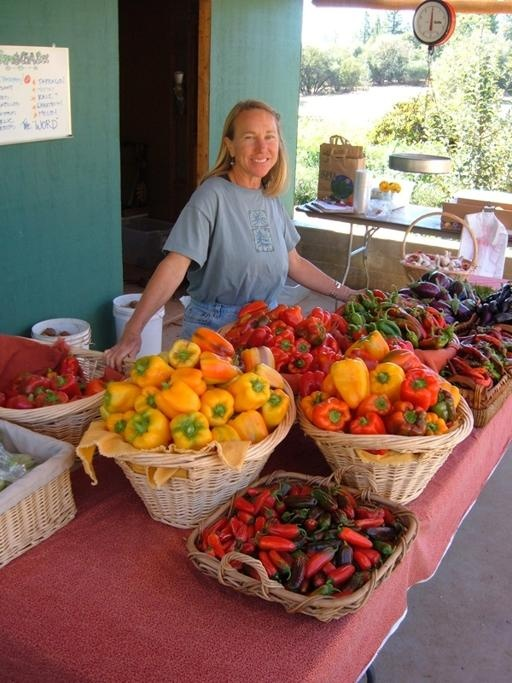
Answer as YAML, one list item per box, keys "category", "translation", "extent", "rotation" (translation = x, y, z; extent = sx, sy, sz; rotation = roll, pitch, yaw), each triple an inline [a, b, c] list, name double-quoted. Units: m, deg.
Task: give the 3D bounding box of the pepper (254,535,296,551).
- category: "pepper"
  translation: [0.034, 0.396, 1.021]
  extent: [0.067, 0.025, 0.028]
  rotation: [0, 55, 13]

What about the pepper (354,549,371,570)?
- category: "pepper"
  translation: [0.207, 0.425, 1.009]
  extent: [0.018, 0.016, 0.039]
  rotation: [-10, 26, -18]

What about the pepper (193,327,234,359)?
- category: "pepper"
  translation: [-0.130, 0.001, 1.544]
  extent: [0.133, 0.062, 0.069]
  rotation: [30, 53, 16]

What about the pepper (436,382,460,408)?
- category: "pepper"
  translation: [0.544, 0.138, 1.435]
  extent: [0.034, 0.079, 0.062]
  rotation: [-38, 33, 14]

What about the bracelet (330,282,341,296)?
- category: "bracelet"
  translation: [0.404, -0.261, 2.560]
  extent: [0.024, 0.066, 0.052]
  rotation: [24, -17, -20]

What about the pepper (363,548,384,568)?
- category: "pepper"
  translation: [0.235, 0.426, 1.024]
  extent: [0.018, 0.014, 0.038]
  rotation: [-20, 28, -31]

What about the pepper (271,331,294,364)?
- category: "pepper"
  translation: [0.089, 0.017, 1.644]
  extent: [0.060, 0.044, 0.102]
  rotation: [4, 56, 11]

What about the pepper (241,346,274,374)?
- category: "pepper"
  translation: [0.008, 0.049, 1.479]
  extent: [0.074, 0.079, 0.072]
  rotation: [-11, 9, -36]

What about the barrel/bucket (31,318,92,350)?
- category: "barrel/bucket"
  translation: [-1.283, -0.057, 3.381]
  extent: [0.223, 0.189, 0.222]
  rotation: [3, 11, -1]

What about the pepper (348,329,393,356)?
- category: "pepper"
  translation: [0.360, 0.008, 1.591]
  extent: [0.090, 0.109, 0.088]
  rotation: [-38, 3, 22]

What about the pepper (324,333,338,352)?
- category: "pepper"
  translation: [0.257, 0.005, 1.745]
  extent: [0.039, 0.068, 0.023]
  rotation: [-20, -12, -22]

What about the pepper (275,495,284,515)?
- category: "pepper"
  translation: [0.051, 0.367, 1.159]
  extent: [0.018, 0.041, 0.018]
  rotation: [25, 50, 31]

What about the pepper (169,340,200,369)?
- category: "pepper"
  translation: [-0.177, 0.044, 1.325]
  extent: [0.075, 0.072, 0.078]
  rotation: [25, -8, -4]

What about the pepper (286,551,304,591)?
- category: "pepper"
  translation: [0.071, 0.427, 0.961]
  extent: [0.021, 0.018, 0.061]
  rotation: [20, 25, 0]

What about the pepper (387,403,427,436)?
- category: "pepper"
  translation: [0.362, 0.186, 1.291]
  extent: [0.082, 0.092, 0.080]
  rotation: [0, 26, 2]

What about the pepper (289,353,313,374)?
- category: "pepper"
  translation: [0.139, 0.067, 1.623]
  extent: [0.065, 0.060, 0.077]
  rotation: [-13, -6, 25]

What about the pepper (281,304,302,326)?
- category: "pepper"
  translation: [0.125, -0.095, 1.851]
  extent: [0.073, 0.076, 0.072]
  rotation: [0, 8, 42]

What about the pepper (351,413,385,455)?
- category: "pepper"
  translation: [0.281, 0.220, 1.338]
  extent: [0.093, 0.108, 0.084]
  rotation: [-12, 36, 20]

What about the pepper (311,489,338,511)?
- category: "pepper"
  translation: [0.152, 0.352, 1.150]
  extent: [0.029, 0.018, 0.047]
  rotation: [-13, 25, -29]

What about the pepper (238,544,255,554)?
- category: "pepper"
  translation: [-0.020, 0.416, 1.034]
  extent: [0.022, 0.016, 0.028]
  rotation: [-12, -28, 24]

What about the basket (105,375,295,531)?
- category: "basket"
  translation: [-0.105, 0.268, 1.180]
  extent: [0.285, 0.129, 0.279]
  rotation: [4, 13, 23]

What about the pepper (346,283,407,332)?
- category: "pepper"
  translation: [0.427, -0.111, 1.923]
  extent: [0.162, 0.095, 0.211]
  rotation: [-4, 27, -2]

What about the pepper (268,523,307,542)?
- category: "pepper"
  translation: [0.060, 0.388, 1.059]
  extent: [0.064, 0.020, 0.029]
  rotation: [1, -7, 17]

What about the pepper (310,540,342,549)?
- category: "pepper"
  translation: [0.139, 0.406, 1.029]
  extent: [0.065, 0.018, 0.020]
  rotation: [-7, -4, 0]

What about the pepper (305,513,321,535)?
- category: "pepper"
  translation: [0.123, 0.384, 1.093]
  extent: [0.015, 0.042, 0.016]
  rotation: [13, 55, -7]

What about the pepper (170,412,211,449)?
- category: "pepper"
  translation: [-0.139, 0.190, 1.101]
  extent: [0.079, 0.074, 0.074]
  rotation: [2, 43, 1]

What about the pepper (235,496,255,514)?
- category: "pepper"
  translation: [-0.024, 0.360, 1.140]
  extent: [0.022, 0.018, 0.045]
  rotation: [7, 4, -34]

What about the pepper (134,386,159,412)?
- category: "pepper"
  translation: [-0.242, 0.135, 1.185]
  extent: [0.052, 0.023, 0.052]
  rotation: [-36, 48, -8]

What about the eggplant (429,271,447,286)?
- category: "eggplant"
  translation: [0.910, -0.315, 2.562]
  extent: [0.073, 0.052, 0.091]
  rotation: [6, 28, -18]

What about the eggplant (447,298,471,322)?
- category: "eggplant"
  translation: [0.915, -0.135, 2.322]
  extent: [0.074, 0.061, 0.141]
  rotation: [-7, -23, 31]

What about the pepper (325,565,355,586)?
- category: "pepper"
  translation: [0.162, 0.437, 0.971]
  extent: [0.023, 0.017, 0.050]
  rotation: [-3, 7, 36]

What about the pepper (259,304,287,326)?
- category: "pepper"
  translation: [0.052, -0.088, 1.844]
  extent: [0.048, 0.052, 0.115]
  rotation: [16, 45, 35]

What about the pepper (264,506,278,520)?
- category: "pepper"
  translation: [0.032, 0.372, 1.120]
  extent: [0.024, 0.018, 0.012]
  rotation: [24, 11, 41]

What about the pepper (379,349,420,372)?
- category: "pepper"
  translation: [0.421, 0.068, 1.516]
  extent: [0.117, 0.069, 0.082]
  rotation: [-18, -16, 22]

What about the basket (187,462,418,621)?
- category: "basket"
  translation: [0.128, 0.414, 1.015]
  extent: [0.274, 0.075, 0.270]
  rotation: [13, 21, 32]

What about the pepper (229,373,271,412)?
- category: "pepper"
  translation: [-0.013, 0.118, 1.296]
  extent: [0.097, 0.090, 0.126]
  rotation: [9, -31, -24]
